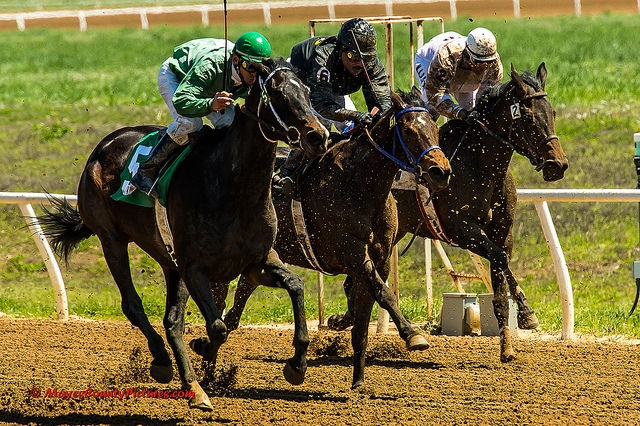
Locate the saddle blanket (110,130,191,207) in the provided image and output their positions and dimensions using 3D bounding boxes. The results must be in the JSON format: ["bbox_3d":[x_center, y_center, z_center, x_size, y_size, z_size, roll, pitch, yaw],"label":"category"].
[{"bbox_3d":[-1.578,-0.383,9.703,0.301,0.687,1.245,2,2,-27],"label":"saddle blanket"}]

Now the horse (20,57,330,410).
[{"bbox_3d":[-1.103,0.194,9.631,2.441,3.180,0.966,6,14,37],"label":"horse"}]

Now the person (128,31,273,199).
[{"bbox_3d":[-1.109,-0.979,9.898,0.918,1.515,2.002,-1,11,-42],"label":"person"}]
